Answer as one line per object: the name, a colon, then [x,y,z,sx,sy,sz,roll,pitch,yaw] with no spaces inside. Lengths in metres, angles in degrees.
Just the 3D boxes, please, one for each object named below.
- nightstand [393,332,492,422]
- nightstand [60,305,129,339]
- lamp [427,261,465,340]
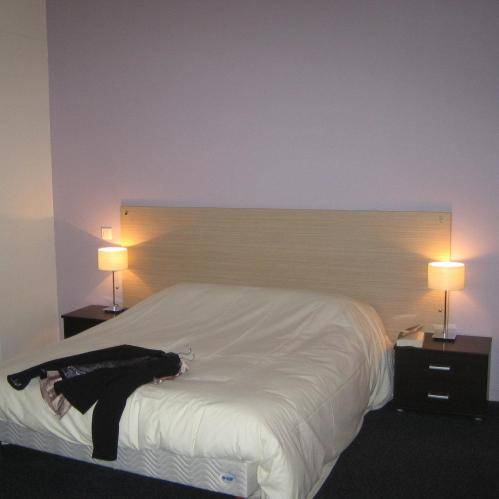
nightstand: [1.305,0.812,3.132,0.501,0.413,0.516,-1,-3,20]
nightstand: [-1.427,0.530,4.086,0.360,0.366,0.368,5,11,30]
lamp: [1.389,0.377,3.223,0.327,0.580,0.343,1,8,21]
